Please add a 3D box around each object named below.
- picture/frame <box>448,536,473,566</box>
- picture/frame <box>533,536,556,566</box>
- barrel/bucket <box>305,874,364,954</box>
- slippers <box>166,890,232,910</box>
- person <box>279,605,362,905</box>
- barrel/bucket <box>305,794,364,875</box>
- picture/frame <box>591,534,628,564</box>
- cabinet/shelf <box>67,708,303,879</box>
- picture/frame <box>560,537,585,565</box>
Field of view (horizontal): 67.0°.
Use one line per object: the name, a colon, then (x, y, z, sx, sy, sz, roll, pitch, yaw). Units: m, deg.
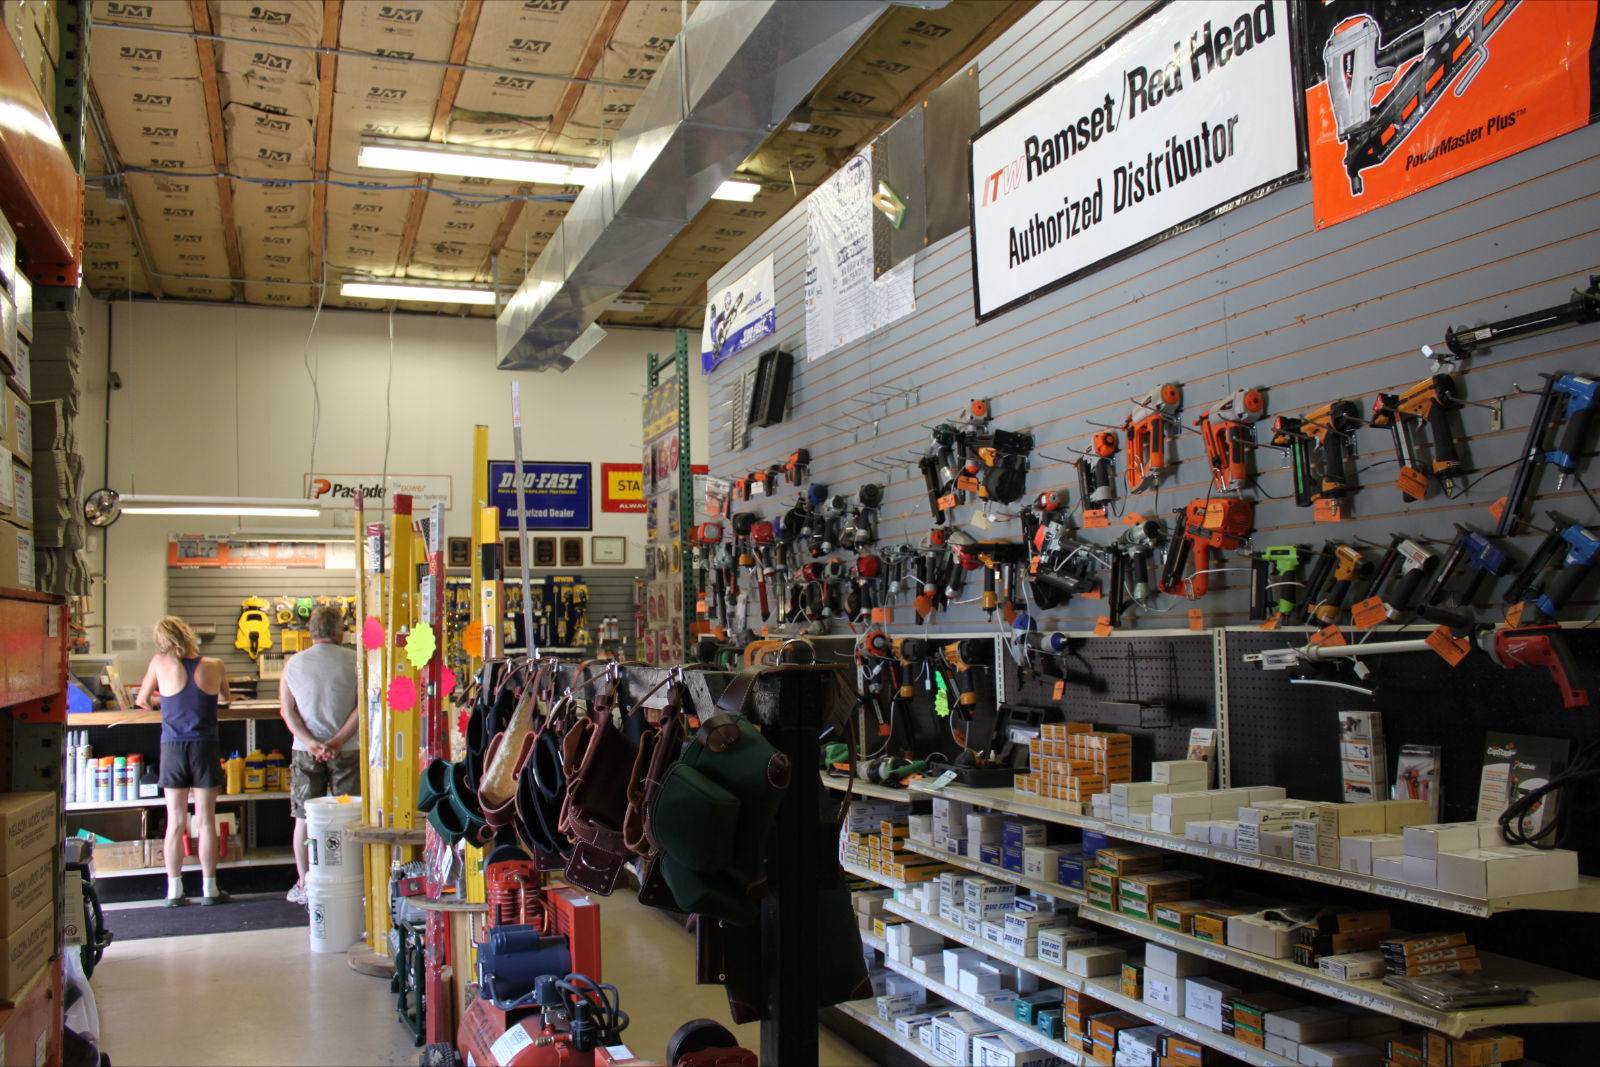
picture/frame: (-3.371, 0.181, 11.813, 0.300, 0.362, 0.033, 3, -7, -29)
picture/frame: (-2.650, 0.191, 12.318, 0.302, 0.366, 0.039, 2, -14, -15)
barrel/bucket: (-2.847, 2.300, 7.494, 0.425, 0.416, 0.402, -4, -11, -1)
slippers: (-4.288, 2.555, 8.557, 0.444, 0.160, 0.142, 1, -4, -6)
person: (-3.357, 1.486, 8.395, 0.563, 1.891, 0.691, 2, -2, -23)
barrel/bucket: (-2.853, 1.834, 7.317, 0.296, 0.463, 0.391, -1, -4, -21)
picture/frame: (-2.057, 0.179, 12.732, 0.321, 0.252, 0.025, 4, -19, -31)
cabinet/shelf: (-4.942, 1.957, 9.605, 1.887, 1.169, 0.799, 2, -1, -17)
picture/frame: (-2.395, 0.183, 12.420, 0.279, 0.310, 0.035, 4, -5, -11)
